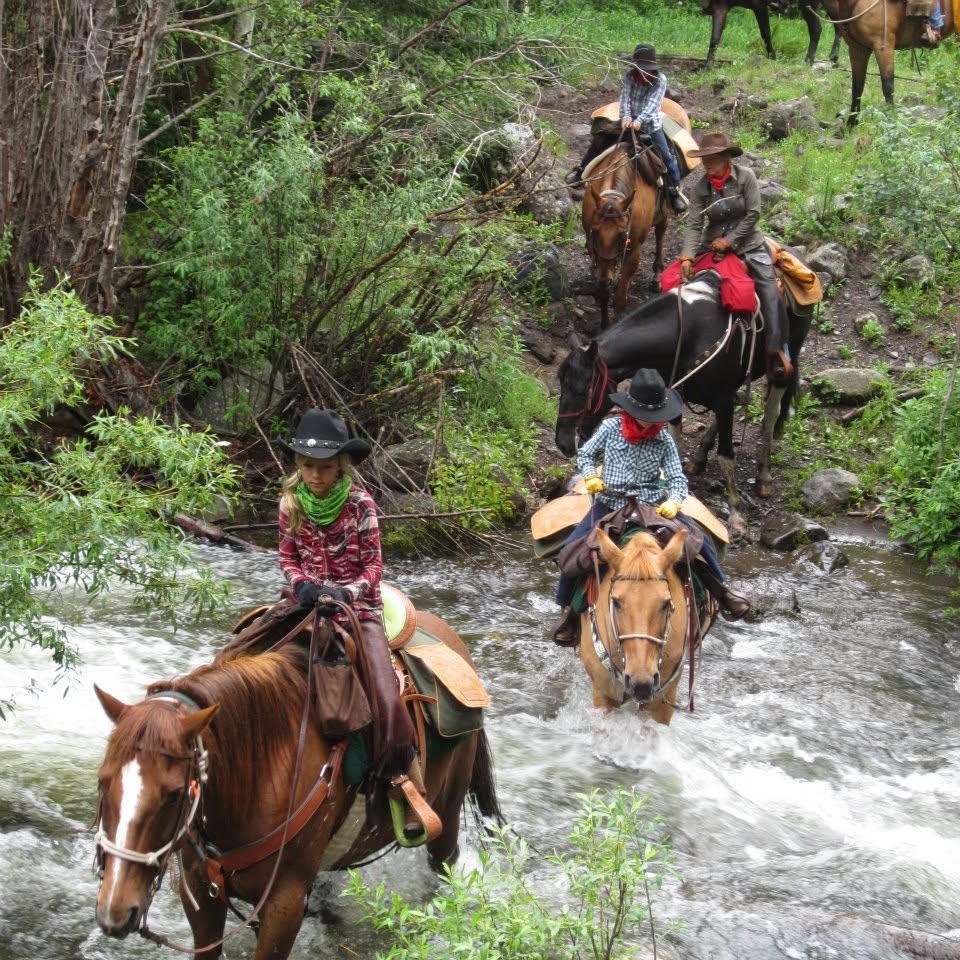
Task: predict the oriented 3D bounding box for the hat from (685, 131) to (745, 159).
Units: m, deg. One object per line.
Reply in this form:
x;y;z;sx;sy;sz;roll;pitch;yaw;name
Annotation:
2.256;-3.212;11.132;0.410;0.293;0.474;3;7;-4;hat

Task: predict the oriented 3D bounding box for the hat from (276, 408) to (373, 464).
-0.654;-0.186;4.978;0.349;0.226;0.284;2;8;-9;hat

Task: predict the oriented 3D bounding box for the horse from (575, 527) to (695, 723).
0.956;0.955;7.058;0.677;1.395;1.158;5;8;5;horse

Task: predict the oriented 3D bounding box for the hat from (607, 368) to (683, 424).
1.102;-0.575;7.610;0.361;0.171;0.446;1;23;-2;hat
